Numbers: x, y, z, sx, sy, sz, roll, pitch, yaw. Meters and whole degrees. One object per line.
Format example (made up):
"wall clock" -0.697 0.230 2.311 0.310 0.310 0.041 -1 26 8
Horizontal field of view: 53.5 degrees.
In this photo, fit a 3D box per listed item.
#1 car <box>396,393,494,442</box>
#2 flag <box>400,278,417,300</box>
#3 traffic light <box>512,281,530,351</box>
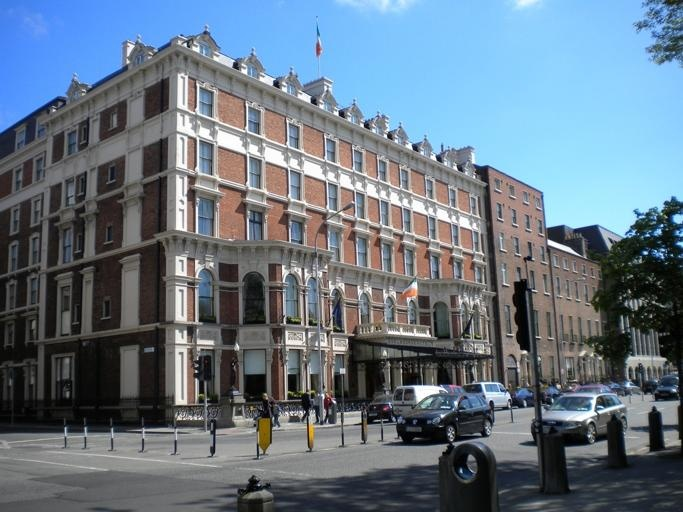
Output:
"car" 4.214 6.632 27.939 3.982 1.950 1.727 10 -20 -41
"flag" 5.463 2.708 56.047 1.891 2.096 0.163 8 5 33
"traffic light" 4.682 1.487 17.591 0.457 1.937 1.098 -8 -16 13
